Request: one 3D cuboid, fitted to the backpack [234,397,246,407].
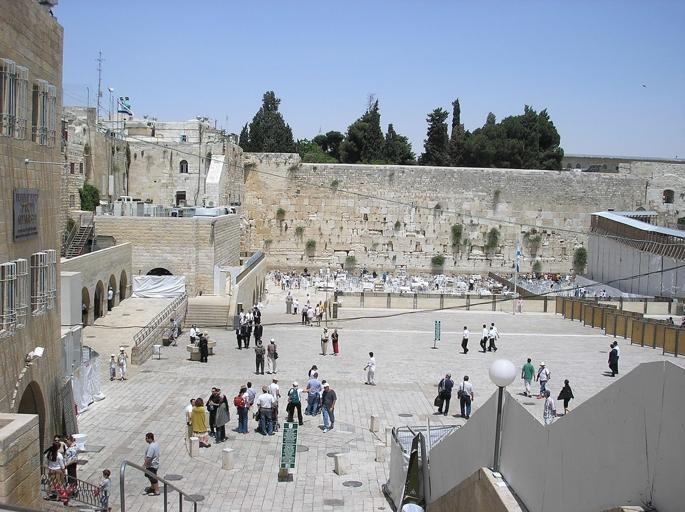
[{"bbox_3d":[-1.987,2.799,15.971,0.142,0.222,0.194,8,-2,35],"label":"backpack"}]

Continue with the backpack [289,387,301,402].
[{"bbox_3d":[-0.912,2.693,16.222,0.205,0.323,0.298,3,13,6],"label":"backpack"}]

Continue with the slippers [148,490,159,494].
[{"bbox_3d":[-3.016,3.807,13.254,0.140,0.062,0.072,4,-5,-7],"label":"slippers"}]

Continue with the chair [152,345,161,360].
[{"bbox_3d":[-4.843,2.526,21.629,0.272,0.405,0.292,1,11,-5],"label":"chair"}]

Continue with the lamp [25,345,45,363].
[{"bbox_3d":[-5.149,1.668,13.800,0.149,0.070,0.236,19,26,1],"label":"lamp"}]

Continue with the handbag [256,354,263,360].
[{"bbox_3d":[-1.996,2.431,19.887,0.140,0.123,0.154,4,5,29],"label":"handbag"}]

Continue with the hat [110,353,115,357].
[{"bbox_3d":[-5.310,2.292,19.109,0.073,0.082,0.077,4,5,24],"label":"hat"}]

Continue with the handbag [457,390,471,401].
[{"bbox_3d":[2.533,2.861,17.053,0.246,0.212,0.156,5,5,16],"label":"handbag"}]

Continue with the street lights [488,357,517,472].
[{"bbox_3d":[1.993,2.011,10.475,0.302,1.365,0.378,4,5,11],"label":"street lights"}]

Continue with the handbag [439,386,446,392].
[{"bbox_3d":[2.121,2.785,17.331,0.126,0.052,0.181,0,1,5],"label":"handbag"}]

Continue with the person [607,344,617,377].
[{"bbox_3d":[6.611,2.493,20.088,0.227,0.911,0.726,5,5,18],"label":"person"}]
